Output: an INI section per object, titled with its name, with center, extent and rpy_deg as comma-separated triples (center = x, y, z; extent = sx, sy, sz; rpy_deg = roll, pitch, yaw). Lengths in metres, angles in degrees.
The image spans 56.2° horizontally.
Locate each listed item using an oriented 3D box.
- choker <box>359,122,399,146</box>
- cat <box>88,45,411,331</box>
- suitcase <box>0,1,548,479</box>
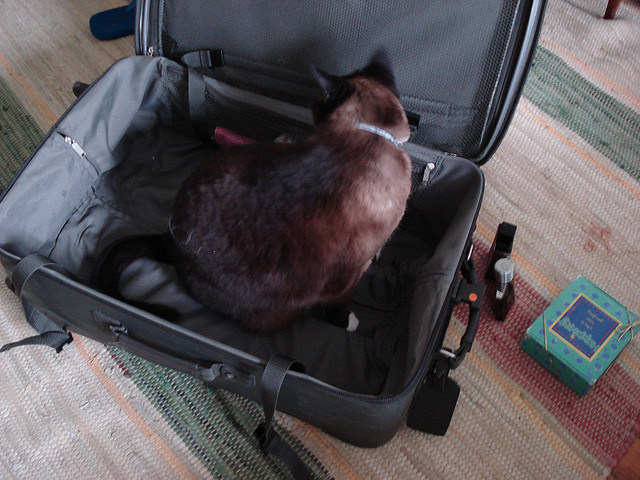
[choker]
center = 0.137, -0.254, 1.432
extent = 0.110, 0.017, 0.016
rpy_deg = 29, 5, -32
[cat]
center = -0.049, -0.120, 1.654
extent = 0.802, 0.645, 0.608
rpy_deg = 8, 52, 4
[suitcase]
center = -0.143, -0.130, 2.038
extent = 1.380, 1.029, 1.348
rpy_deg = 28, 73, 2
